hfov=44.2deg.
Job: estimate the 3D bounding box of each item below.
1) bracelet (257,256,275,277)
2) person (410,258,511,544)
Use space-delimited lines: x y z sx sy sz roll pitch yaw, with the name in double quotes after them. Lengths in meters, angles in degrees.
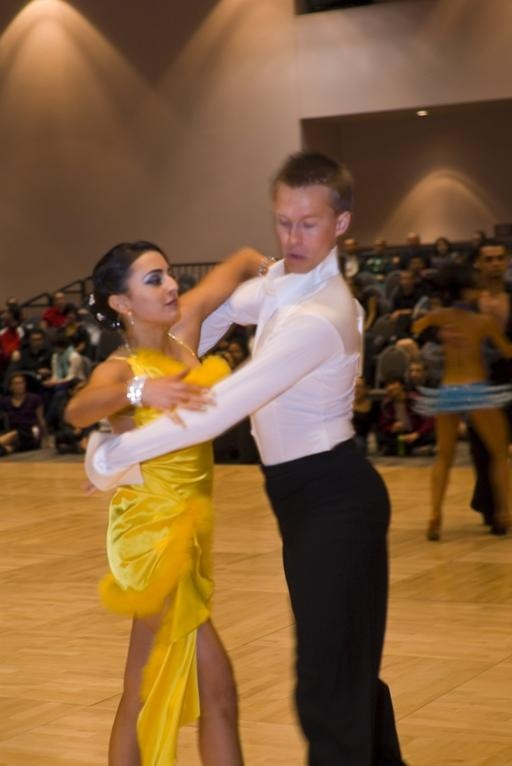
0.021 -0.258 1.380 0.021 0.048 0.043 31 -23 -23 "bracelet"
1.520 0.121 4.555 0.673 1.942 1.030 0 10 9 "person"
